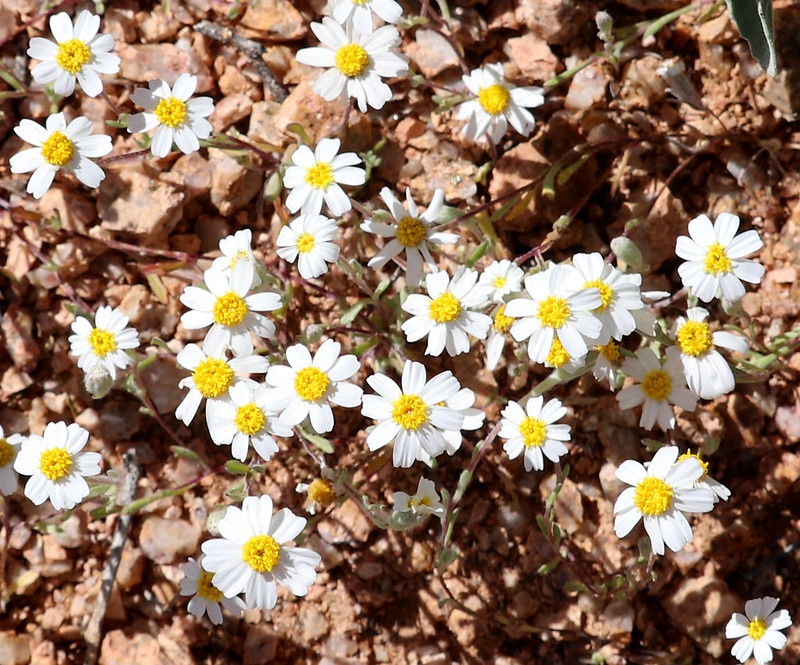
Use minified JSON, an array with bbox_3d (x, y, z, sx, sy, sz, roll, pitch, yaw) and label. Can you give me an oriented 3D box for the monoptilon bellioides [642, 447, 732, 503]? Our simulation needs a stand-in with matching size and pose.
[{"bbox_3d":[1.395,0.625,3.754,0.100,0.280,0.323,-35,110,-29],"label":"monoptilon bellioides"}]
